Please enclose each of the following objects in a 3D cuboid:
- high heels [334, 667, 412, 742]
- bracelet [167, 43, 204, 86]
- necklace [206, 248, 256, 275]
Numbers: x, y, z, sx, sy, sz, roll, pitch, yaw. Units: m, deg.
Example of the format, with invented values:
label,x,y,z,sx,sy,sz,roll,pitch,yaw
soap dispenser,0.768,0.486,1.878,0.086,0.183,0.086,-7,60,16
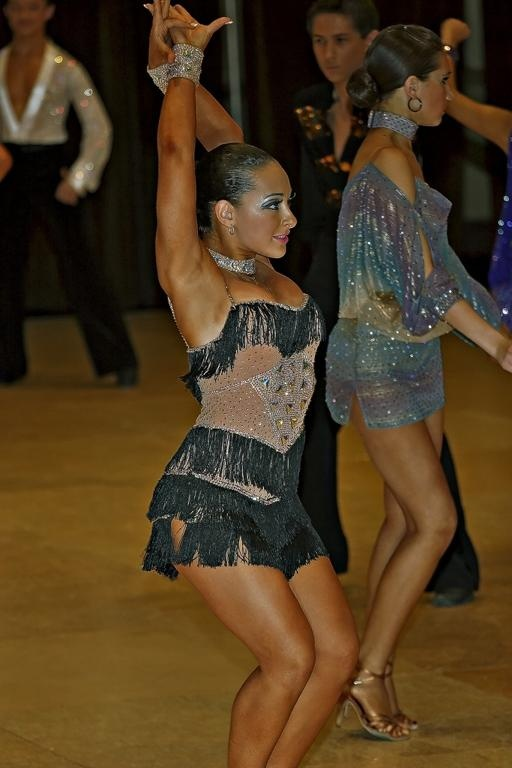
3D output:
label,x,y,z,sx,sy,sz,roll,pitch,yaw
high heels,0.279,0.749,1.805,0.267,0.119,0.087,16,-12,-30
bracelet,-0.106,-0.482,1.168,0.067,0.061,0.030,9,-19,-25
necklace,-0.039,-0.199,1.277,0.059,0.019,0.043,5,5,-37
